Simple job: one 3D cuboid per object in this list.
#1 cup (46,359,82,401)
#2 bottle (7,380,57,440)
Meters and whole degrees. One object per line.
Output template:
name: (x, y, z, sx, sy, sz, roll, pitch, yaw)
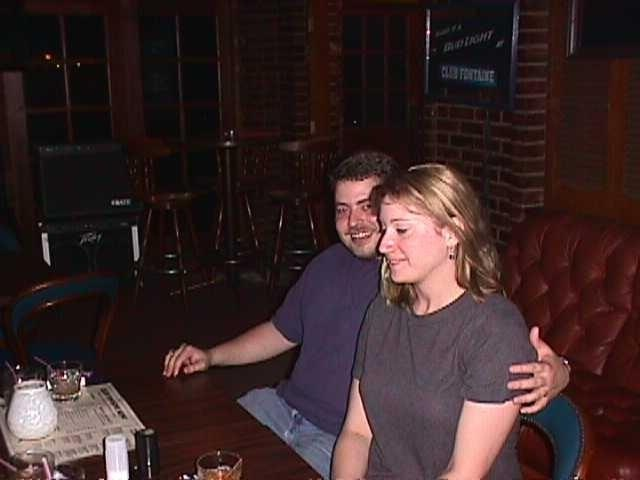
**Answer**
cup: (-0.819, 0.448, 1.752, 0.102, 0.101, 0.118, 1, -2, -10)
bottle: (-0.801, 0.470, 1.532, 0.133, 0.139, 0.141, 0, 0, -4)
